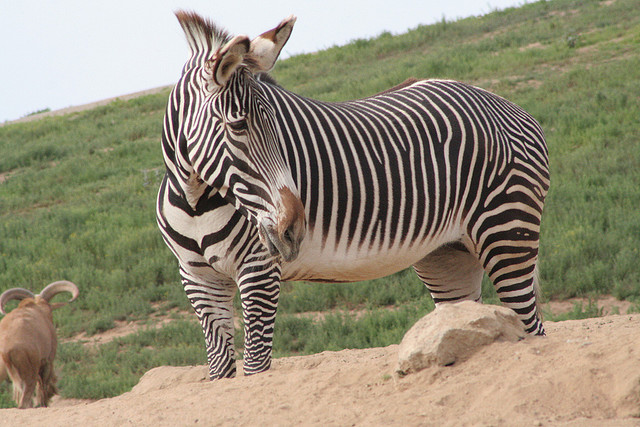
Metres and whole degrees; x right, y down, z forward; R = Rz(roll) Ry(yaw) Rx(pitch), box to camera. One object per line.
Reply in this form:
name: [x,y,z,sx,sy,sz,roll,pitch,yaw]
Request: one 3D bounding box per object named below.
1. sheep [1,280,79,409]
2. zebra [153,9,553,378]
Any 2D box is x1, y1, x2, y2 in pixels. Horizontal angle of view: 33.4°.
sheep: [-6.376,2.706,22.391,1.708,2.549,2.898,3,-2,-23]
zebra: [0.260,0.734,20.770,7.999,6.758,4.222,-7,17,-12]
